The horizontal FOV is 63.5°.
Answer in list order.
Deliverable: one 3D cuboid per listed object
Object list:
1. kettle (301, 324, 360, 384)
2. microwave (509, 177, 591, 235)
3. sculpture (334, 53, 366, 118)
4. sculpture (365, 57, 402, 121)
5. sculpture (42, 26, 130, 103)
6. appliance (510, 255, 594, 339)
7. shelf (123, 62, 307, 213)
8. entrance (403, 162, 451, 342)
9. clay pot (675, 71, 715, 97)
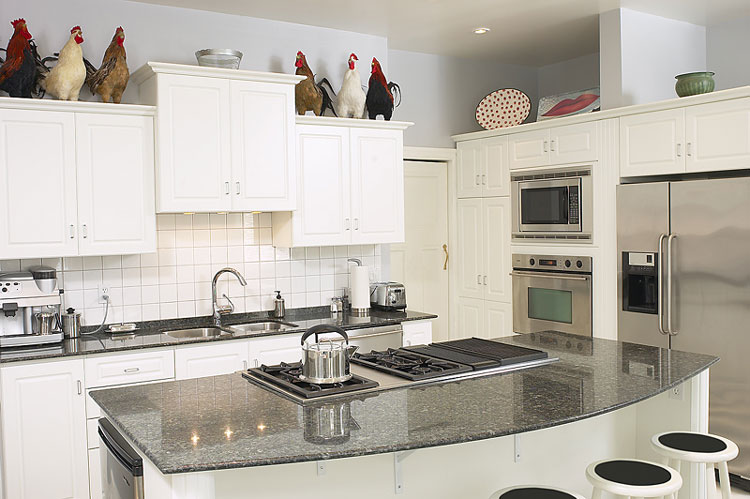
[{"bbox_3d":[-0.251,0.545,3.347,0.319,0.299,0.314,0,-1,-45],"label":"kettle"},{"bbox_3d":[1.819,-0.427,5.857,0.506,0.593,0.871,-6,6,-31],"label":"microwave"},{"bbox_3d":[-0.205,-1.450,5.411,0.259,0.567,0.210,-2,6,-4],"label":"sculpture"},{"bbox_3d":[0.068,-1.438,5.675,0.294,0.618,0.518,7,12,23],"label":"sculpture"},{"bbox_3d":[-2.331,-1.369,4.626,0.619,0.535,0.347,-4,20,33],"label":"sculpture"},{"bbox_3d":[1.585,0.501,5.922,0.814,0.831,0.608,5,-11,-16],"label":"appliance"},{"bbox_3d":[-1.302,-0.872,4.749,1.234,1.035,0.478,-1,6,-25],"label":"shelf"},{"bbox_3d":[0.556,-0.047,6.570,0.532,1.692,0.093,-4,16,-15],"label":"entrance"},{"bbox_3d":[2.572,-1.331,4.860,0.272,0.164,0.241,0,-3,7],"label":"clay pot"}]
